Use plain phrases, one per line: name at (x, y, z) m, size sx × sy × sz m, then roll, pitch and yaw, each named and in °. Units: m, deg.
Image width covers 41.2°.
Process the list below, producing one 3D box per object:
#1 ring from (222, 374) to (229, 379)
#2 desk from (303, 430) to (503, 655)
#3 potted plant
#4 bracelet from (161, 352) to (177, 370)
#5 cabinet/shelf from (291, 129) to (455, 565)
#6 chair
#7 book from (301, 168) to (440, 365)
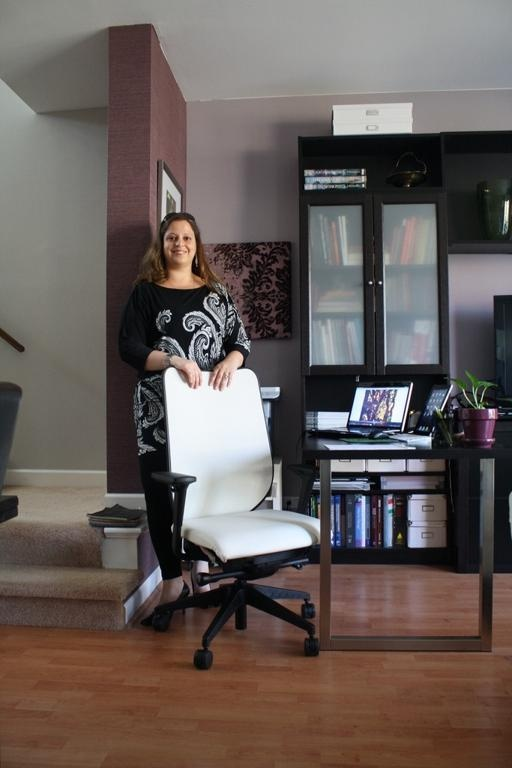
ring at (-0.104, -0.027, 2.465) m, size 0.013 × 0.017 × 0.006 m, roll 0°, pitch -9°, yaw -29°
desk at (0.444, 0.490, 2.409) m, size 0.837 × 0.751 × 0.643 m, roll 0°, pitch -8°, yaw 4°
potted plant at (0.879, 0.104, 2.777) m, size 0.283 × 0.393 × 0.297 m, roll -2°, pitch -5°, yaw 10°
bracelet at (-0.304, -0.080, 2.399) m, size 0.042 × 0.058 × 0.064 m, roll 4°, pitch -17°, yaw -25°
cabinet/shelf at (0.631, -0.202, 3.512) m, size 0.815 × 2.045 × 0.361 m, roll 1°, pitch 2°, yaw 24°
chair at (-0.065, 0.429, 2.326) m, size 0.609 × 0.949 × 0.636 m, roll -1°, pitch 2°, yaw -9°
book at (0.573, -0.509, 3.334) m, size 0.654 × 0.893 × 0.086 m, roll 0°, pitch 2°, yaw 3°
